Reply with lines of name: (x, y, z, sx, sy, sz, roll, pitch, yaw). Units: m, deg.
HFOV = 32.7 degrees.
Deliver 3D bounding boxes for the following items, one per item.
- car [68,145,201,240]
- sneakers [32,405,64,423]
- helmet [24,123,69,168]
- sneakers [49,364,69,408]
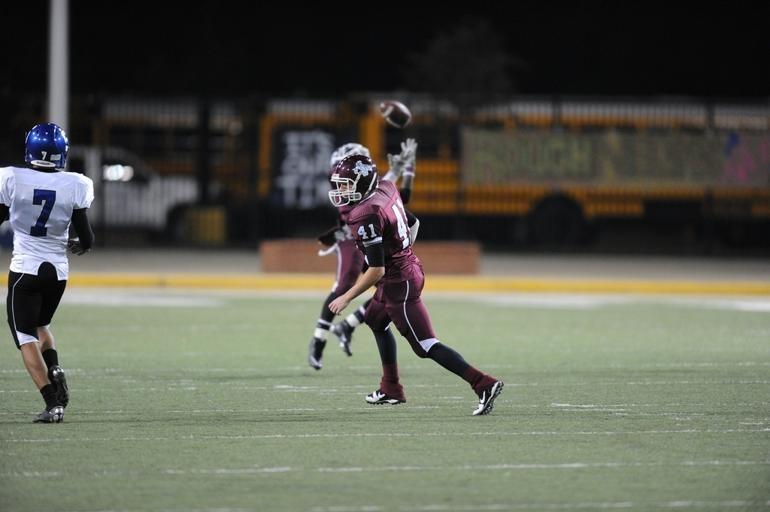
car: (-6.347, -1.671, 34.957, 3.029, 1.489, 2.619, 2, -2, 0)
sneakers: (-4.259, 2.036, 16.787, 0.505, 0.196, 0.159, -3, -31, 12)
helmet: (-4.394, -1.460, 16.970, 0.522, 0.478, 0.634, 4, 15, -13)
sneakers: (-4.147, 1.676, 16.817, 0.214, 0.536, 0.268, -20, 20, -28)
